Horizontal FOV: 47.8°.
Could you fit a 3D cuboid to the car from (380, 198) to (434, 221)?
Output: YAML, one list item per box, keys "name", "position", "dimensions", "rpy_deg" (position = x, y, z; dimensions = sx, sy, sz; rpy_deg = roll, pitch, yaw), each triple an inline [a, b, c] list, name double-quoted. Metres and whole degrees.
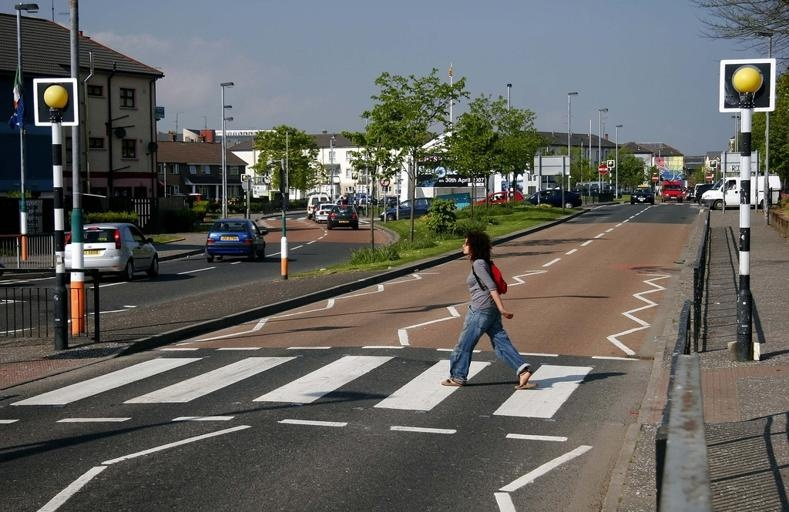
- name: "car"
  position: [0.949, -3.894, 69.978]
  dimensions: [4.390, 1.893, 2.117]
  rpy_deg: [0, 0, -3]

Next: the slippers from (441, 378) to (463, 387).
- name: "slippers"
  position: [0.961, 2.084, 14.875]
  dimensions: [0.343, 0.140, 0.136]
  rpy_deg: [4, 6, 18]

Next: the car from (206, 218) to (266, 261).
- name: "car"
  position: [-6.519, -0.652, 36.249]
  dimensions: [2.099, 1.750, 1.927]
  rpy_deg: [-2, 6, 4]

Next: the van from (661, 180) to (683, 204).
- name: "van"
  position: [25.910, -5.989, 83.179]
  dimensions: [1.513, 1.431, 2.953]
  rpy_deg: [-1, -2, 13]

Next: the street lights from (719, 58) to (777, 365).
- name: "street lights"
  position: [6.139, -0.791, 15.445]
  dimensions: [0.849, 5.129, 0.768]
  rpy_deg: [-8, 8, -42]

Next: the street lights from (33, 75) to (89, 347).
- name: "street lights"
  position: [-6.665, -0.909, 17.696]
  dimensions: [0.871, 5.342, 0.783]
  rpy_deg: [2, -13, -33]

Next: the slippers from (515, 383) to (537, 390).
- name: "slippers"
  position: [2.194, 2.148, 14.785]
  dimensions: [0.310, 0.082, 0.119]
  rpy_deg: [4, -6, -6]

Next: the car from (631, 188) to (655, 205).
- name: "car"
  position: [21.381, -5.060, 76.101]
  dimensions: [1.272, 1.043, 2.166]
  rpy_deg: [2, 8, 20]
